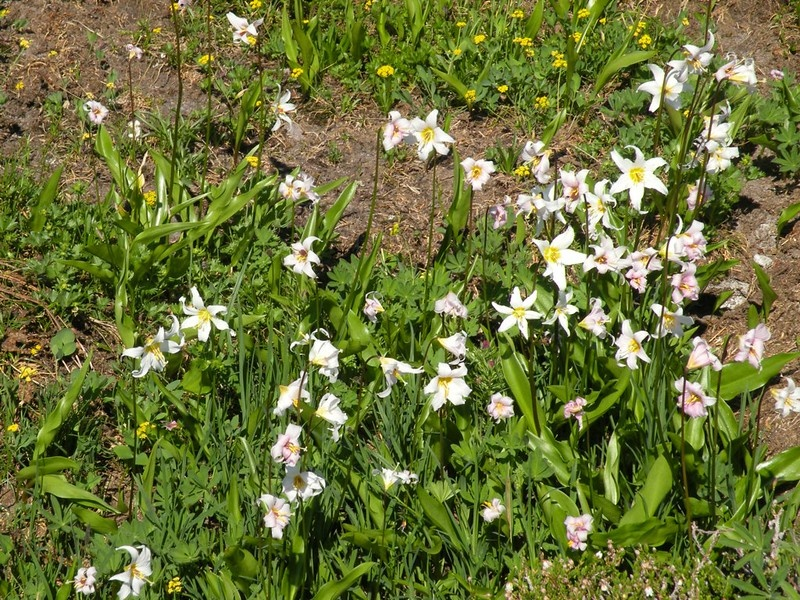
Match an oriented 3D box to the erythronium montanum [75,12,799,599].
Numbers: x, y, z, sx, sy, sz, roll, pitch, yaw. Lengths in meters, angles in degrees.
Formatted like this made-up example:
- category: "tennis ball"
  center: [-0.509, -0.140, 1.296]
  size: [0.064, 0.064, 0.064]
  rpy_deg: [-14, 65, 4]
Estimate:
- category: "erythronium montanum"
  center: [0.244, 0.560, 5.378]
  size: [2.696, 1.507, 3.987]
  rpy_deg: [1, 85, -5]
